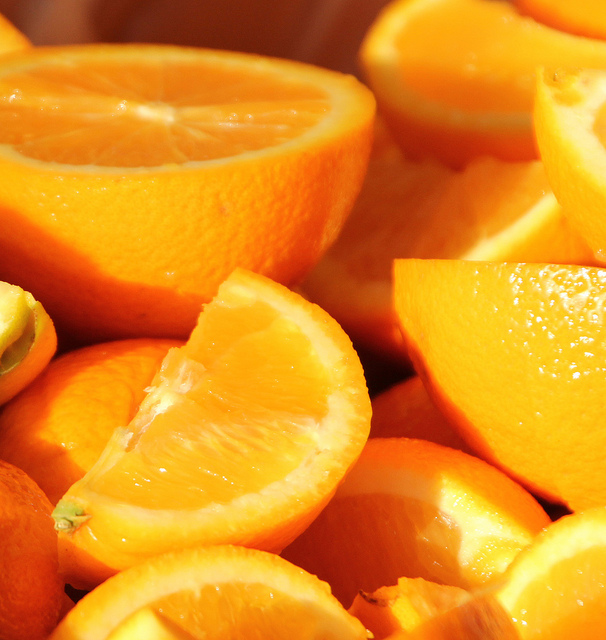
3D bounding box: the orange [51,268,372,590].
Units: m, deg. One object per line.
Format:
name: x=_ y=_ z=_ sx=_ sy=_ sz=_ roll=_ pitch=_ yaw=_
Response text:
orange: x=-0.032 y=0.065 z=0.453 sx=0.130 sy=0.087 sz=0.208 roll=15 pitch=47 yaw=17
